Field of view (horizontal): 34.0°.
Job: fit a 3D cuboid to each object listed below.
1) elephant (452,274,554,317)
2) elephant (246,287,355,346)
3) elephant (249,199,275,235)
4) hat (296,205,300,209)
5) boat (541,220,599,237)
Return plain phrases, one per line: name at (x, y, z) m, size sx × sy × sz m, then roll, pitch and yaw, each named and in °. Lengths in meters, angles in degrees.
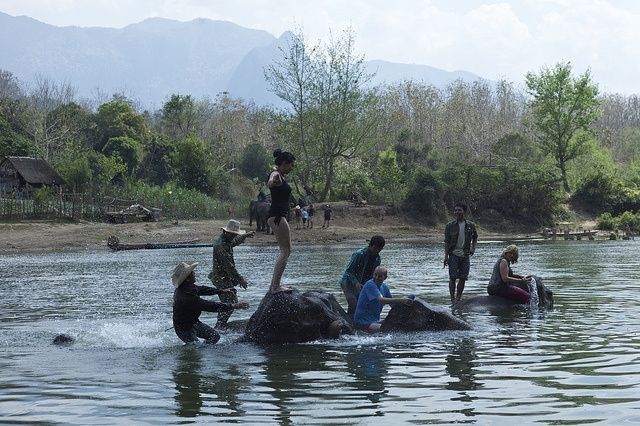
elephant at (13.941, 6.171, 78.668) m, size 7.257 × 2.682 × 1.390 m, roll 0°, pitch 2°, yaw -7°
elephant at (-1.740, 7.835, 77.466) m, size 4.771 × 3.749 × 8.046 m, roll -1°, pitch -3°, yaw 13°
elephant at (-5.408, 0.341, 107.900) m, size 2.236 × 3.056 × 5.493 m, roll -2°, pitch -1°, yaw -22°
hat at (-2.262, -0.543, 111.047) m, size 0.438 × 0.292 × 0.572 m, roll 1°, pitch -3°, yaw 3°
boat at (28.391, 1.891, 119.310) m, size 6.096 × 1.247 × 0.849 m, roll -7°, pitch 34°, yaw 5°
